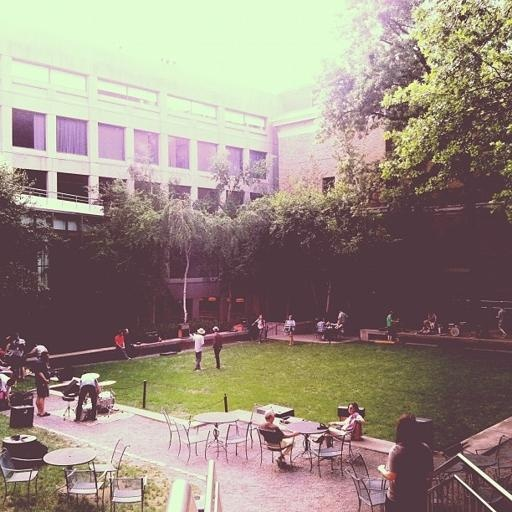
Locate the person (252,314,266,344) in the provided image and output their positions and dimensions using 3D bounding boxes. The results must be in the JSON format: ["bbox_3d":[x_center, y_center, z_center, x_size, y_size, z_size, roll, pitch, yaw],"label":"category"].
[{"bbox_3d":[0.152,4.597,34.613,1.064,2.090,0.849,1,-7,-13],"label":"person"}]

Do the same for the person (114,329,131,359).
[{"bbox_3d":[-6.651,4.482,28.104,0.732,1.457,1.028,0,-5,-4],"label":"person"}]

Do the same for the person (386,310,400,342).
[{"bbox_3d":[7.614,3.955,31.178,0.645,1.662,1.858,-1,-6,14],"label":"person"}]

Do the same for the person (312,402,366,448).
[{"bbox_3d":[2.064,4.014,13.215,0.950,1.057,1.609,-4,-7,31],"label":"person"}]

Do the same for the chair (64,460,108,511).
[{"bbox_3d":[-3.235,4.422,10.623,0.682,1.346,0.803,0,7,-4],"label":"chair"}]

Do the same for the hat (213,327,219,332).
[{"bbox_3d":[-1.721,3.168,23.842,0.412,0.174,0.465,0,-1,7],"label":"hat"}]

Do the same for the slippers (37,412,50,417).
[{"bbox_3d":[-6.239,4.687,16.414,0.349,0.168,0.125,1,0,-23],"label":"slippers"}]

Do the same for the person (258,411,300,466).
[{"bbox_3d":[0.514,4.082,12.673,0.831,1.190,1.138,0,-6,2],"label":"person"}]

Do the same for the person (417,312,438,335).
[{"bbox_3d":[9.177,3.817,30.356,1.070,0.430,1.083,-30,1,-37],"label":"person"}]

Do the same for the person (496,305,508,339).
[{"bbox_3d":[13.046,3.467,29.716,0.503,1.671,3.898,-2,-7,23],"label":"person"}]

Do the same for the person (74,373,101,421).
[{"bbox_3d":[-4.761,4.027,15.768,0.623,1.304,0.500,2,-5,-20],"label":"person"}]
